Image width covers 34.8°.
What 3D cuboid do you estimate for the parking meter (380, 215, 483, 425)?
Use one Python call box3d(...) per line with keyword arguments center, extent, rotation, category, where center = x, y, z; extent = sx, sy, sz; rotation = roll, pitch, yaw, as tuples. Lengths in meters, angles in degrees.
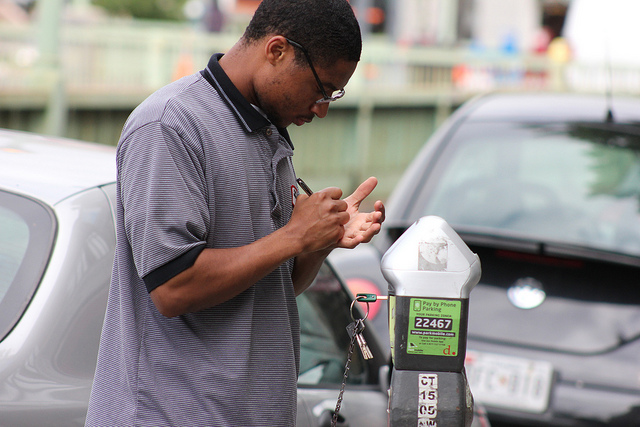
box3d(center=(0.498, 0.543, 4.516), extent=(0.425, 0.975, 0.458), rotation=(-1, 27, 8), category="parking meter")
